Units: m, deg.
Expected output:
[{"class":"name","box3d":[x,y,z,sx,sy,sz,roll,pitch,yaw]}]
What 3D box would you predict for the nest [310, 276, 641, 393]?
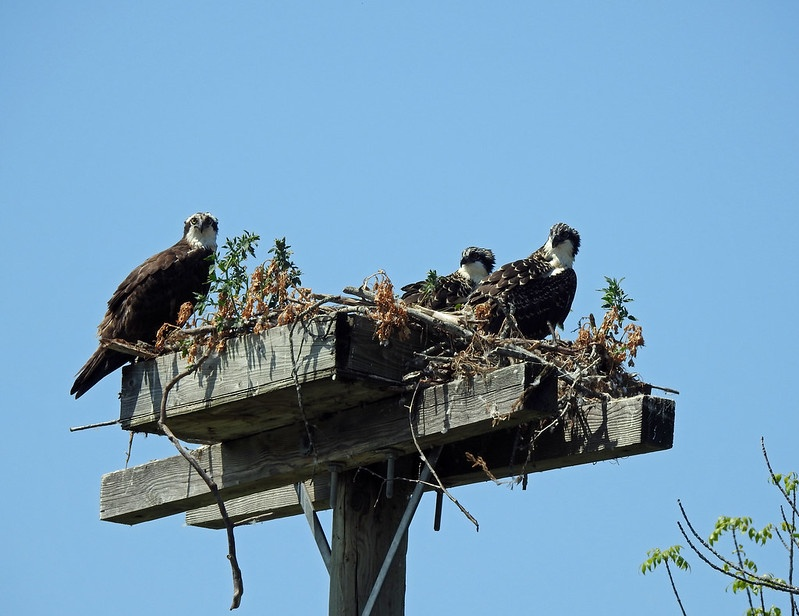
[{"class":"nest","box3d":[0.705,-0.008,11.989,1.262,0.565,0.376,-19,1,20]}]
